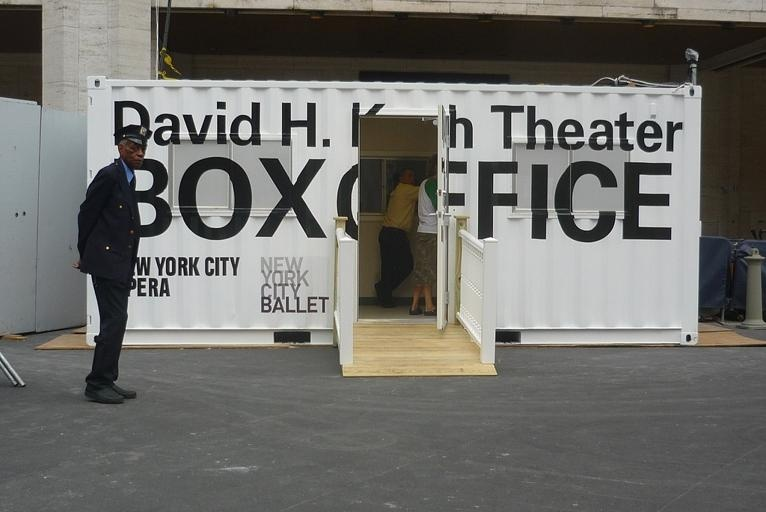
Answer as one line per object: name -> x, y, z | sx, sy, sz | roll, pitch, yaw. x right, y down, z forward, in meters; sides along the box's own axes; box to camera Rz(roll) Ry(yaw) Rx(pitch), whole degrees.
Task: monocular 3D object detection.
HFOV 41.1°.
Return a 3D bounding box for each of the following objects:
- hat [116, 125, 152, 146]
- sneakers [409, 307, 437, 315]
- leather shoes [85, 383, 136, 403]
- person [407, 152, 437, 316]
hat -> -3.173, -1.512, 12.845 | 0.297, 0.181, 0.295 | 6, -6, -43
sneakers -> 0.622, 0.905, 16.435 | 0.447, 0.186, 0.160 | 0, 1, 10
leather shoes -> -3.422, 1.741, 12.793 | 0.375, 0.158, 0.298 | 1, 2, 6
person -> 0.656, -0.157, 16.491 | 0.394, 2.191, 0.459 | 1, 2, 7
